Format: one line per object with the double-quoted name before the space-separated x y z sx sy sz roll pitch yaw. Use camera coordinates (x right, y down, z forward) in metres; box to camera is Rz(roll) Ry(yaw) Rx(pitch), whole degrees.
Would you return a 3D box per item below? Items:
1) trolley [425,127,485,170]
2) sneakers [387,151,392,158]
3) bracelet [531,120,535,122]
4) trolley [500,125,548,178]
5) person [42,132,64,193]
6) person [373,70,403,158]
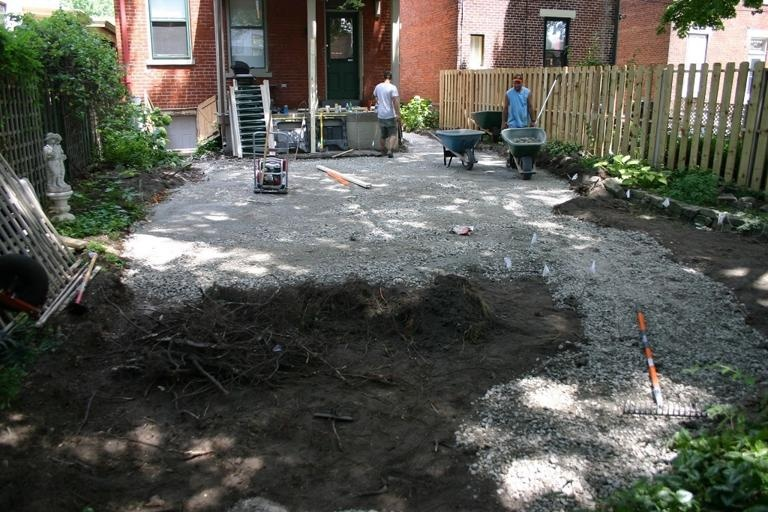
"trolley" 1.993 -2.856 13.186 1.059 0.994 1.137 3 17 6
"sneakers" 0.163 -3.046 14.793 0.158 0.187 0.204 -5 5 2
"bracelet" 4.072 -3.671 13.419 0.058 0.050 0.056 -27 39 -24
"trolley" 3.394 -2.549 12.117 1.037 1.169 1.436 5 18 14
"person" -5.158 -1.467 7.676 0.319 0.858 0.870 -10 21 -30
"person" 0.096 -4.259 14.901 0.722 2.444 1.326 1 18 1
